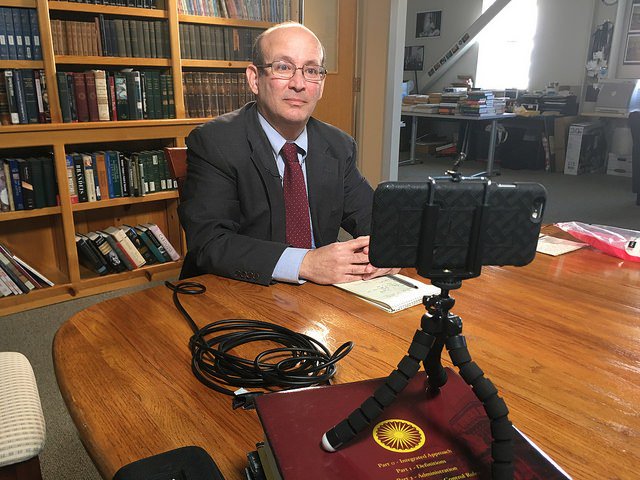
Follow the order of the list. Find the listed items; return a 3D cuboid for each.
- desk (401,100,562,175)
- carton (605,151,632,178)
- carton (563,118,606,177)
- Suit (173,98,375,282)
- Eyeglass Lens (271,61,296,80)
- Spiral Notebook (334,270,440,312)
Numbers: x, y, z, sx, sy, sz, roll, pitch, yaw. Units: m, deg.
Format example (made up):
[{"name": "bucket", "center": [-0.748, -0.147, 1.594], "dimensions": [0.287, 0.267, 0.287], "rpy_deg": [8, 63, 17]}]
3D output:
[{"name": "desk", "center": [2.675, -1.640, 6.980], "dimensions": [2.023, 0.877, 1.488], "rpy_deg": [18, 28, 41]}, {"name": "carton", "center": [4.655, -1.179, 6.778], "dimensions": [0.390, 0.266, 0.377], "rpy_deg": [2, 13, -33]}, {"name": "carton", "center": [4.128, -1.461, 6.860], "dimensions": [0.930, 0.733, 0.295], "rpy_deg": [-20, 22, -33]}, {"name": "Suit", "center": [-0.170, -0.185, 1.732], "dimensions": [0.692, 0.686, 0.802], "rpy_deg": [-2, 20, -32]}, {"name": "Eyeglass Lens", "center": [-0.133, -0.614, 1.575], "dimensions": [0.088, 0.059, 0.024], "rpy_deg": [-2, 17, -3]}, {"name": "Spiral Notebook", "center": [0.208, 0.137, 1.194], "dimensions": [0.175, 0.017, 0.168], "rpy_deg": [18, 21, 42]}]
